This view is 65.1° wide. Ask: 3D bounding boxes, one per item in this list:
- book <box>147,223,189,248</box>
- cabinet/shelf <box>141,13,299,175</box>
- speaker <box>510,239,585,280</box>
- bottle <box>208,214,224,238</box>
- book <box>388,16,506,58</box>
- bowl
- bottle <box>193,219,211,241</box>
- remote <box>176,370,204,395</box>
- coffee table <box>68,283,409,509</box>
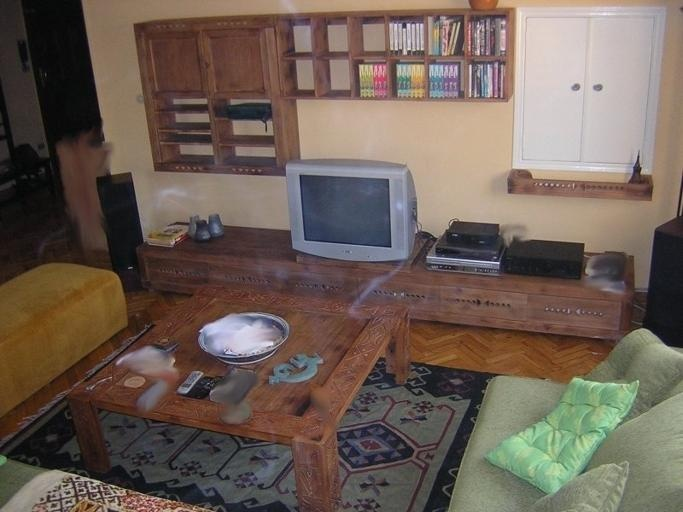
[{"bbox_3d":[-1.502,-0.187,4.753,0.272,0.056,0.254,-2,19,15],"label":"book"},{"bbox_3d":[-0.988,-1.331,4.542,1.392,1.162,0.445,9,23,26],"label":"cabinet/shelf"},{"bbox_3d":[1.477,-0.015,3.857,0.449,0.131,0.309,6,29,23],"label":"speaker"},{"bbox_3d":[-1.116,-0.279,4.748,0.129,0.186,0.165,-8,24,-13],"label":"bottle"},{"bbox_3d":[0.743,-1.553,3.770,0.824,0.271,0.113,5,25,16],"label":"book"},{"bbox_3d":[-0.569,0.468,3.156,0.354,0.074,0.329,2,23,-1],"label":"bowl"},{"bbox_3d":[-1.215,-0.226,4.662,0.145,0.175,0.118,-8,24,-13],"label":"bottle"},{"bbox_3d":[-0.797,0.665,2.828,0.062,0.021,0.131,6,31,19],"label":"remote"},{"bbox_3d":[-0.490,0.744,3.181,1.487,0.613,1.310,6,23,20],"label":"coffee table"}]
